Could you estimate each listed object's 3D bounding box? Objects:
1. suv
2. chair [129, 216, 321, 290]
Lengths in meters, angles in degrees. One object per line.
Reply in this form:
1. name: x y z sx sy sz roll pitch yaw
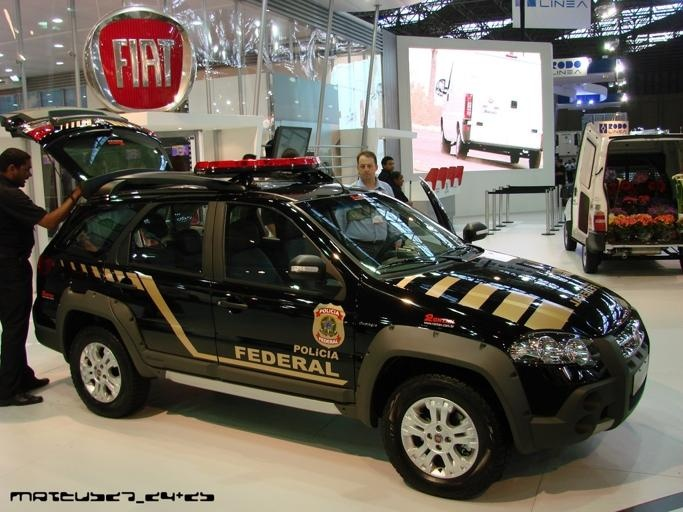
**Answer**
1. suv: -0.447 0.101 4.508 5.149 2.057 2.160 2 12 26
2. chair: -0.837 -0.074 3.679 1.272 0.364 0.634 7 11 4
